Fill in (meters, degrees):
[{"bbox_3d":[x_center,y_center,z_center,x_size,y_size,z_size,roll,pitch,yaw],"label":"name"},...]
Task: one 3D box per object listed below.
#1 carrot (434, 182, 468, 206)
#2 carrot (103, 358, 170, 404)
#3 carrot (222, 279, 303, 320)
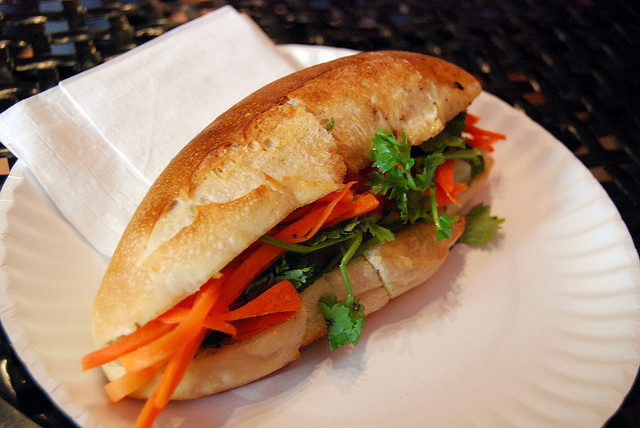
[{"bbox_3d":[0.607,-0.081,2.549,0.122,0.049,0.120,-36,60,3],"label":"carrot"},{"bbox_3d":[-0.702,0.642,2.102,0.293,0.084,0.075,-22,53,-22],"label":"carrot"},{"bbox_3d":[-0.213,0.356,2.209,0.346,0.089,0.124,-23,72,-16],"label":"carrot"}]
